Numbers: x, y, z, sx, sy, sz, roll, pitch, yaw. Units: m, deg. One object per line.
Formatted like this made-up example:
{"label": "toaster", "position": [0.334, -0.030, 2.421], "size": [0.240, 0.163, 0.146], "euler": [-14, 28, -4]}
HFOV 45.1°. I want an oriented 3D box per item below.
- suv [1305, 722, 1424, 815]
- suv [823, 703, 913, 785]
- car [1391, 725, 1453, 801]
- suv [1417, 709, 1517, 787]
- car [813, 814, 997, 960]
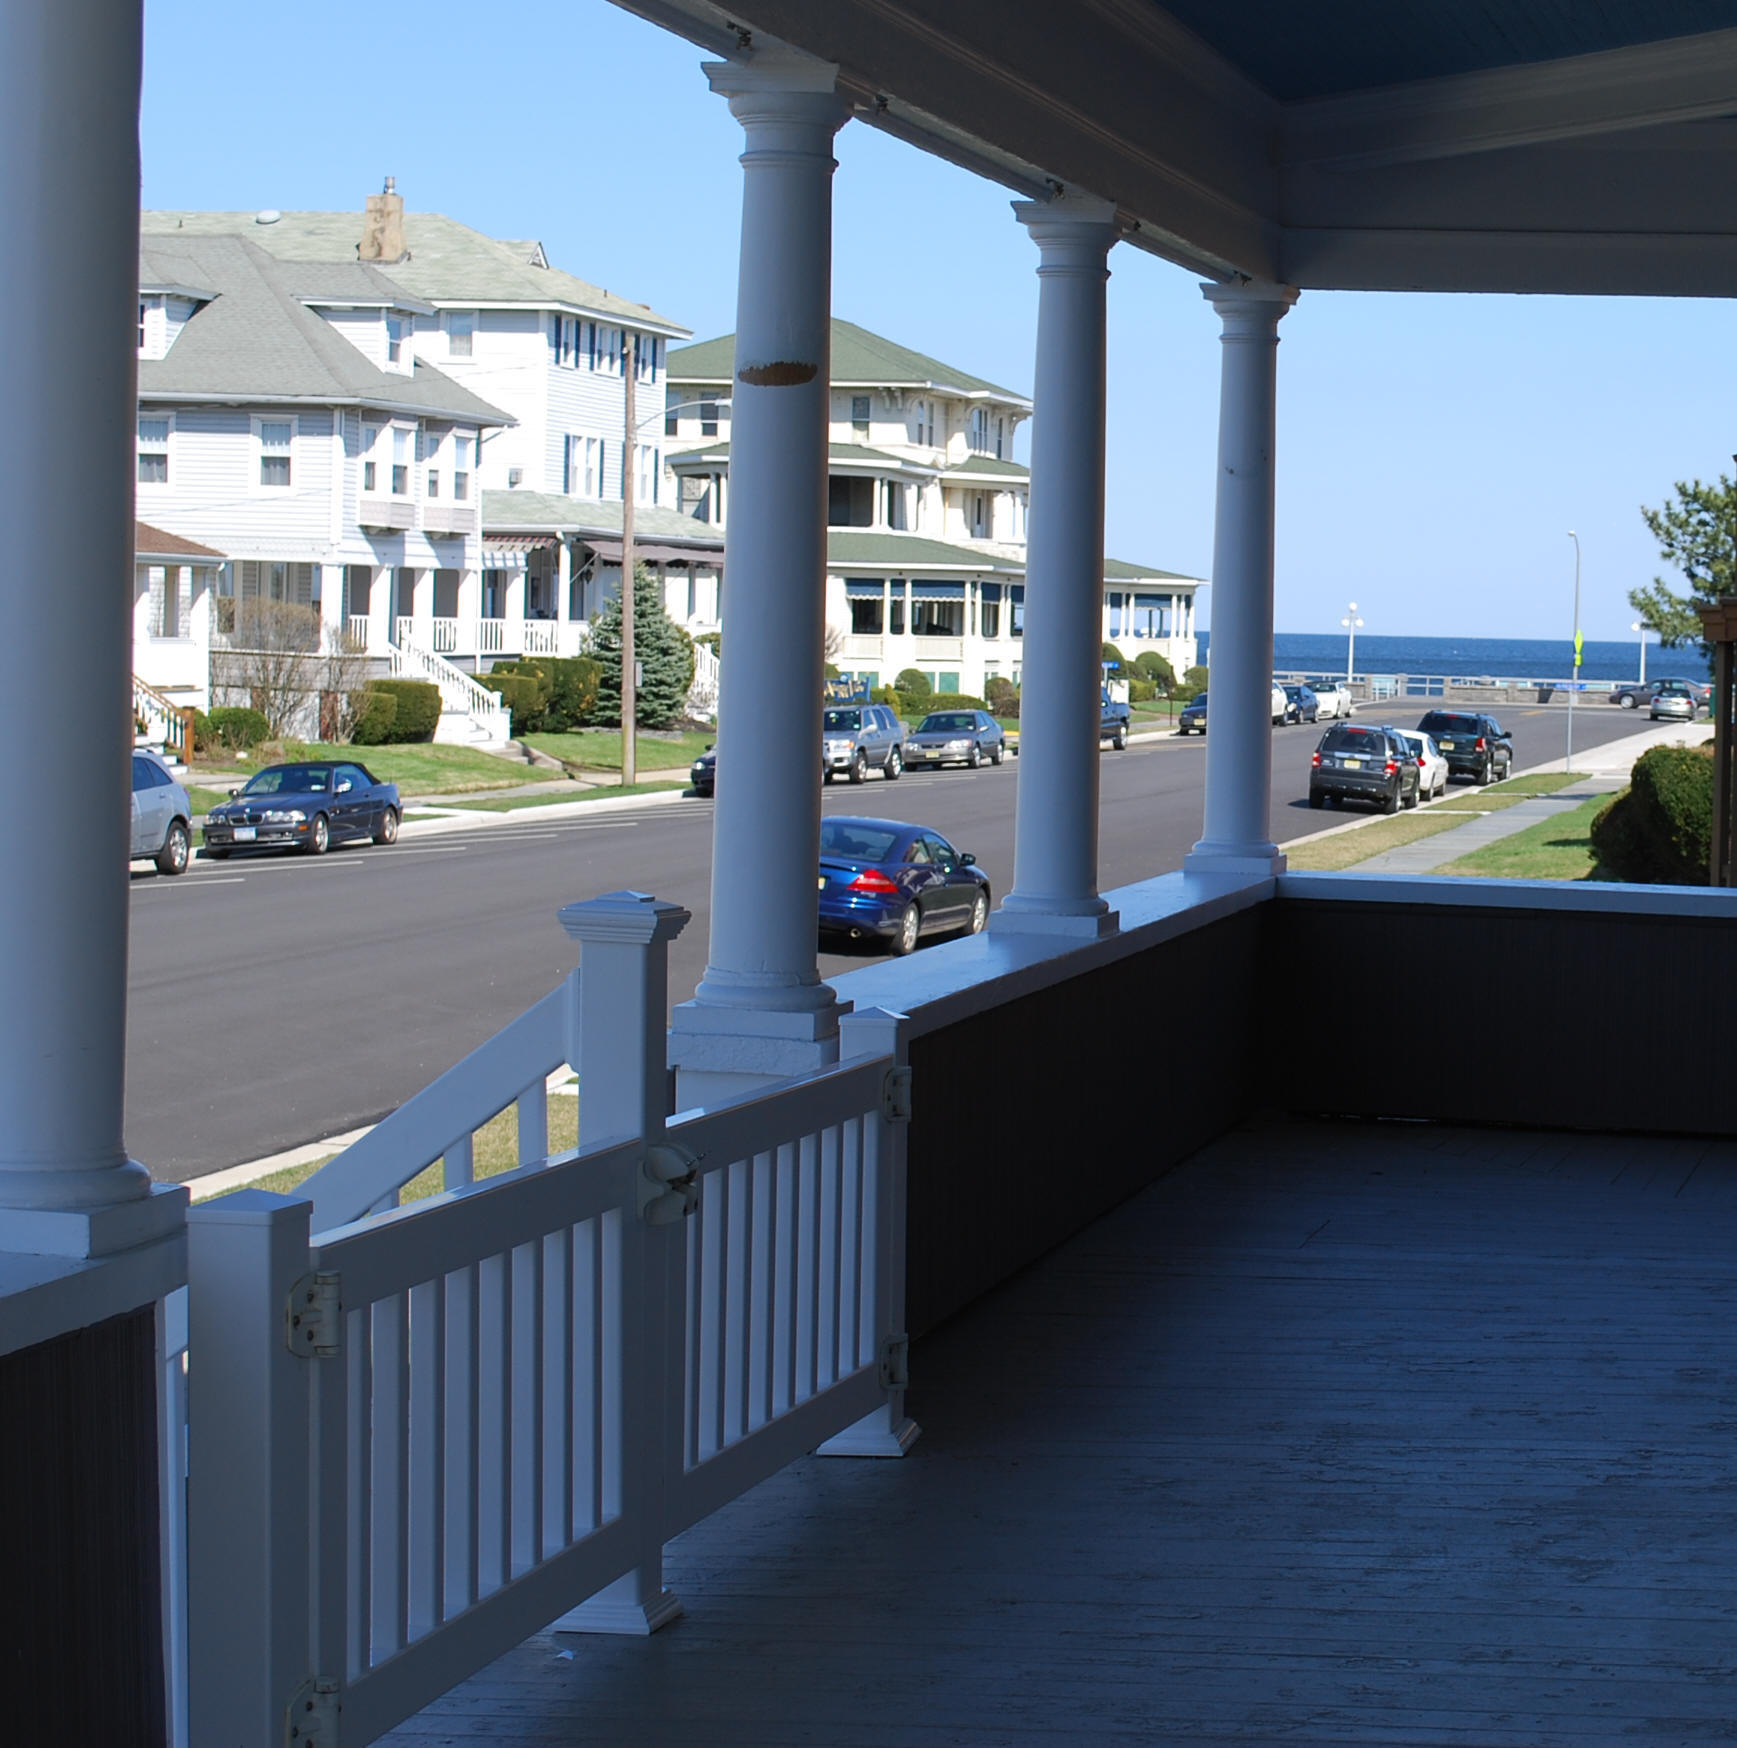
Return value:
{"label": "suv", "position": [9.083, -1.971, 37.815], "size": [1.040, 1.064, 2.281], "euler": [3, 13, 20]}
{"label": "suv", "position": [-0.192, -2.389, 37.937], "size": [1.199, 1.172, 2.520], "euler": [-1, 1, 14]}
{"label": "car", "position": [10.358, -2.086, 38.978], "size": [0.783, 0.781, 1.735], "euler": [2, 15, 15]}
{"label": "suv", "position": [12.317, -2.605, 42.594], "size": [1.052, 0.973, 2.359], "euler": [4, 10, 24]}
{"label": "car", "position": [0.305, 0.070, 18.544], "size": [0.760, 0.711, 1.898], "euler": [1, 6, 22]}
